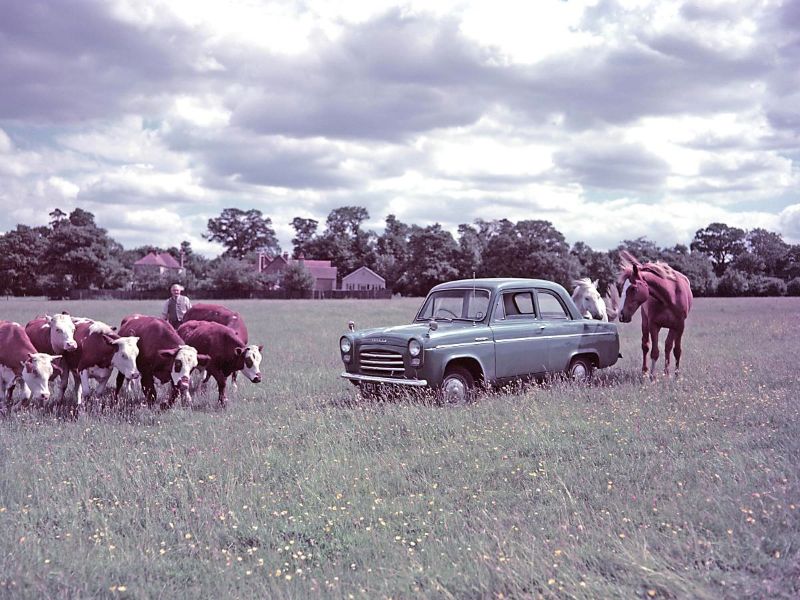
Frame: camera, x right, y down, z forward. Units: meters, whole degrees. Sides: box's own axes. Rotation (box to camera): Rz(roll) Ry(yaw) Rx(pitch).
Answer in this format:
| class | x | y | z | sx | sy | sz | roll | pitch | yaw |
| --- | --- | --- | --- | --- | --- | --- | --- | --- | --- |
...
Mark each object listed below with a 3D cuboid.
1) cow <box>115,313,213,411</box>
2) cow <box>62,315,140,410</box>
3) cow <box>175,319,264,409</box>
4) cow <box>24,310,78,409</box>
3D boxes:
| class | x | y | z | sx | sy | sz | roll | pitch | yaw |
| --- | --- | --- | --- | --- | --- | --- | --- | --- | --- |
| cow | -5.051 | 1.035 | 12.881 | 2.409 | 1.295 | 0.721 | 11 | 4 | 38 |
| cow | -6.139 | 1.347 | 12.762 | 2.707 | 1.635 | 0.800 | 4 | 1 | 35 |
| cow | -3.842 | 1.256 | 13.327 | 2.644 | 1.530 | 0.728 | 10 | 8 | 39 |
| cow | -7.412 | 0.878 | 13.400 | 1.779 | 1.080 | 0.540 | 4 | 5 | 38 |
